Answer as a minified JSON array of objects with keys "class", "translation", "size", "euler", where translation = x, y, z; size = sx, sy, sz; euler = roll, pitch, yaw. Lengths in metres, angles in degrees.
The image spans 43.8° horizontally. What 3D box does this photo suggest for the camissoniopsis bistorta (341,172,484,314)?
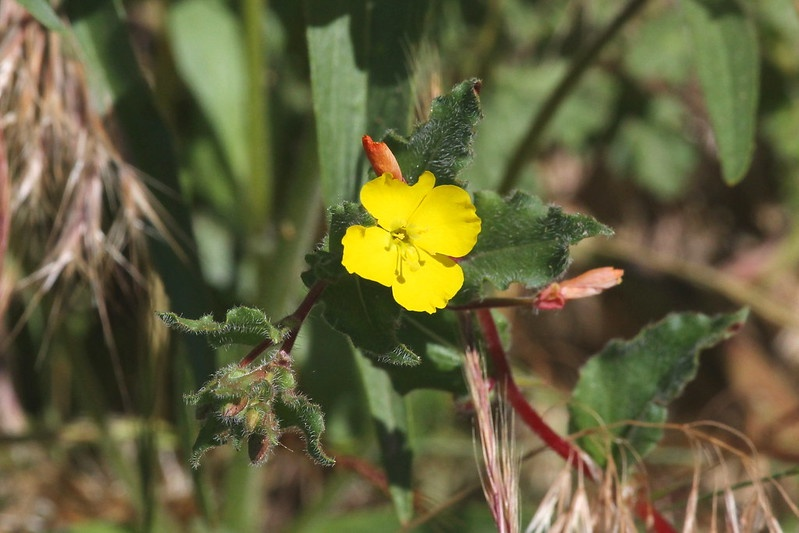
[{"class":"camissoniopsis bistorta","translation":[0.010,-0.079,1.933],"size":[0.233,0.226,0.115],"euler":[18,55,-26]}]
